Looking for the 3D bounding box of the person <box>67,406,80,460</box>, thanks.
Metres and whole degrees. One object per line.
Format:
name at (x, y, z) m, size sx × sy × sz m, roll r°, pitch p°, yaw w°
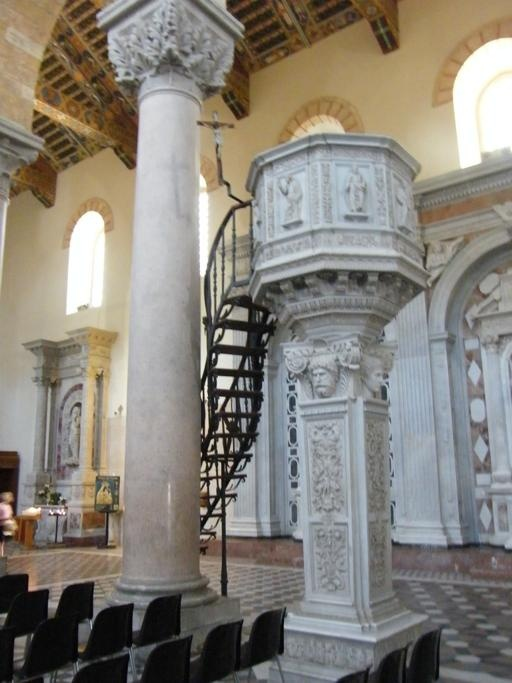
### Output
person at (-4.100, 2.174, 13.005) m, size 0.218 × 1.246 × 0.281 m, roll -6°, pitch 10°, yaw -6°
